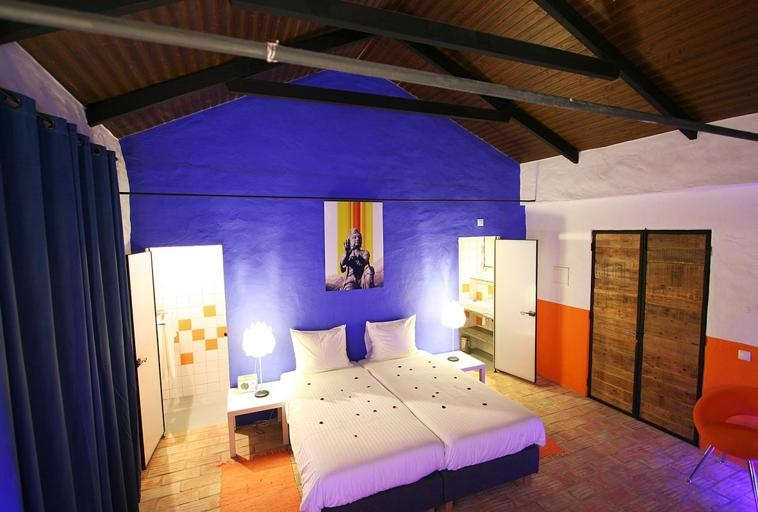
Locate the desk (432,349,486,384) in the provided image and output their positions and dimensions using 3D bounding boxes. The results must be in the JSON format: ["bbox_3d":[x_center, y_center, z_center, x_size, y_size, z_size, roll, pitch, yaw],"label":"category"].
[{"bbox_3d":[1.231,1.625,7.659,0.611,0.414,0.575,-9,15,-34],"label":"desk"}]

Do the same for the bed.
[{"bbox_3d":[0.222,2.062,6.170,2.641,0.923,1.644,-4,2,-17],"label":"bed"}]
